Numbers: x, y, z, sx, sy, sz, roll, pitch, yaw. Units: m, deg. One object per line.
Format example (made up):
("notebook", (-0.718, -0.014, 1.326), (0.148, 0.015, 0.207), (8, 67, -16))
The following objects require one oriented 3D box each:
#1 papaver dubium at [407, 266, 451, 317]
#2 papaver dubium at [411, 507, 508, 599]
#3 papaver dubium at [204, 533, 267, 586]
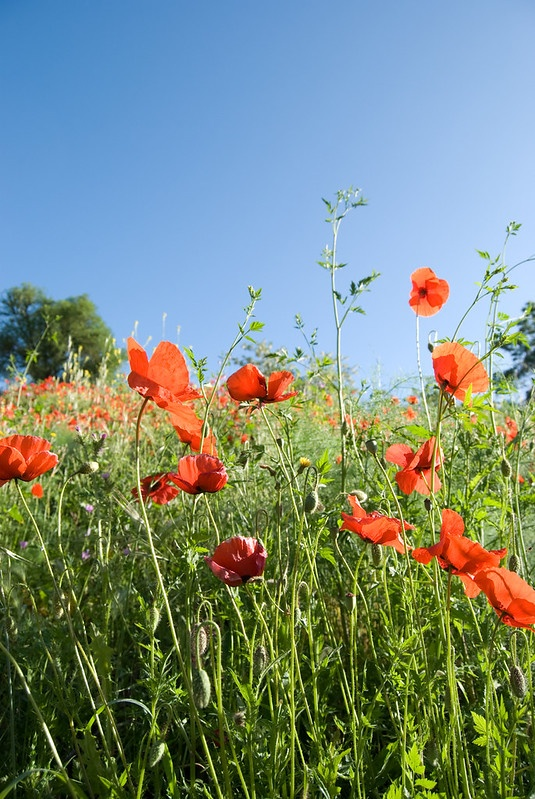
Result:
("papaver dubium", (0.427, -0.301, 1.773), (0.049, 0.119, 0.110), (-39, -17, -10))
("papaver dubium", (0.382, 0.274, 1.265), (0.175, 0.126, 0.184), (21, -32, 39))
("papaver dubium", (-0.058, 0.290, 1.172), (0.122, 0.089, 0.069), (1, -7, -25))
